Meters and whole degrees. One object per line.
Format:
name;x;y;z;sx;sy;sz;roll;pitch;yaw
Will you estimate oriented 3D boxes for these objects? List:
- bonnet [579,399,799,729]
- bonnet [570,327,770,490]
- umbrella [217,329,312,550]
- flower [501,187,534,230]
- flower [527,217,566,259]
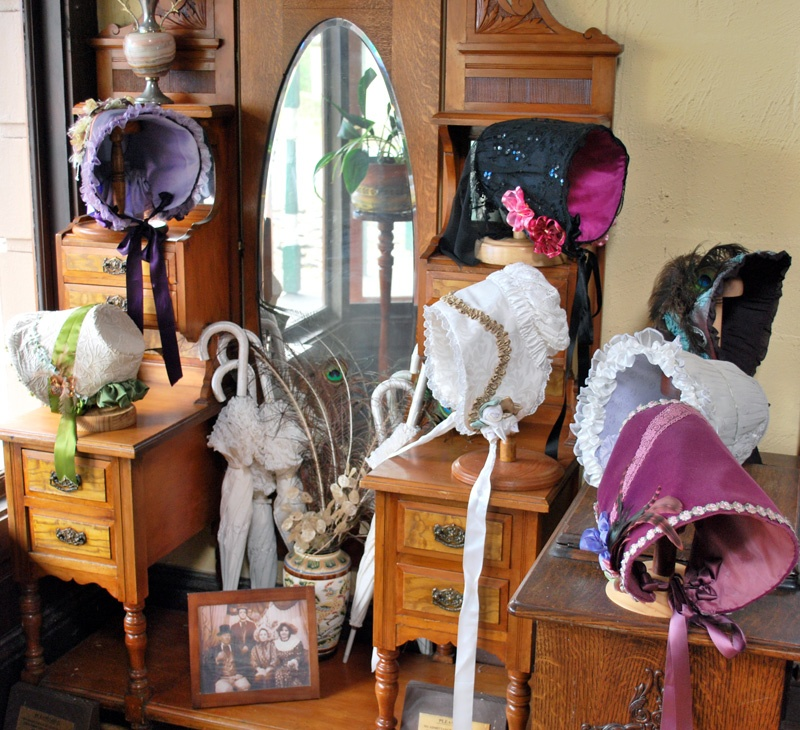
bonnet;0.433;0.322;1.310;0.192;0.473;0.309;-4;19;-21
bonnet;0.506;0.076;1.502;0.308;0.315;0.230;-4;27;-37
umbrella;-0.400;0.262;2.692;0.260;0.759;0.265;-13;1;-25
flower;0.279;-0.374;1.952;0.074;0.111;0.081;2;18;-4
flower;0.348;-0.311;1.946;0.087;0.096;0.067;12;20;27
